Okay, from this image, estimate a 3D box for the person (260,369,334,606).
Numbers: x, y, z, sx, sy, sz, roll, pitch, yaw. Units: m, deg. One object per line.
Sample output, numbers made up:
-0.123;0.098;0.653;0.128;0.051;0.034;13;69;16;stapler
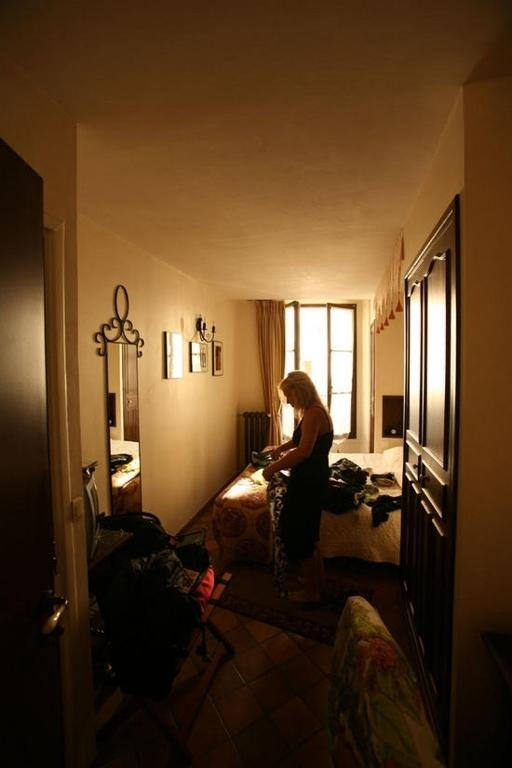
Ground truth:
0.211;0.532;2.775;0.327;1.178;0.404;-4;7;-17;person
